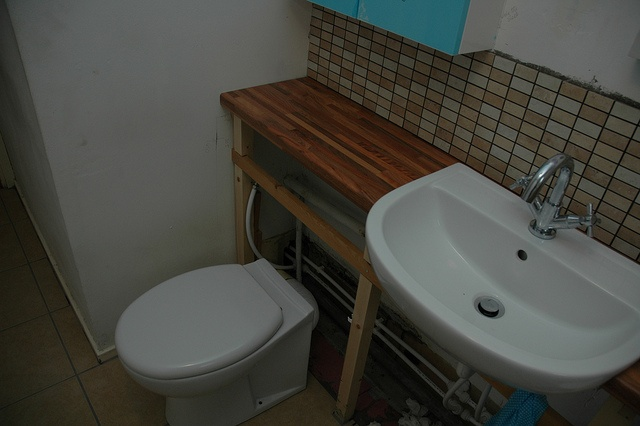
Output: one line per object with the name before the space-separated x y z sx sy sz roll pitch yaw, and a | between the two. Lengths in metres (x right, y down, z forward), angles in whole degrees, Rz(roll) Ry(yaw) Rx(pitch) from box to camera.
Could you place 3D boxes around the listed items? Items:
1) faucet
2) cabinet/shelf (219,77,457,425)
faucet | 0.715 -0.058 1.442 0.120 0.178 0.146 -21 53 -36
cabinet/shelf | 0.071 0.163 1.900 0.449 1.020 1.085 -21 48 -26
